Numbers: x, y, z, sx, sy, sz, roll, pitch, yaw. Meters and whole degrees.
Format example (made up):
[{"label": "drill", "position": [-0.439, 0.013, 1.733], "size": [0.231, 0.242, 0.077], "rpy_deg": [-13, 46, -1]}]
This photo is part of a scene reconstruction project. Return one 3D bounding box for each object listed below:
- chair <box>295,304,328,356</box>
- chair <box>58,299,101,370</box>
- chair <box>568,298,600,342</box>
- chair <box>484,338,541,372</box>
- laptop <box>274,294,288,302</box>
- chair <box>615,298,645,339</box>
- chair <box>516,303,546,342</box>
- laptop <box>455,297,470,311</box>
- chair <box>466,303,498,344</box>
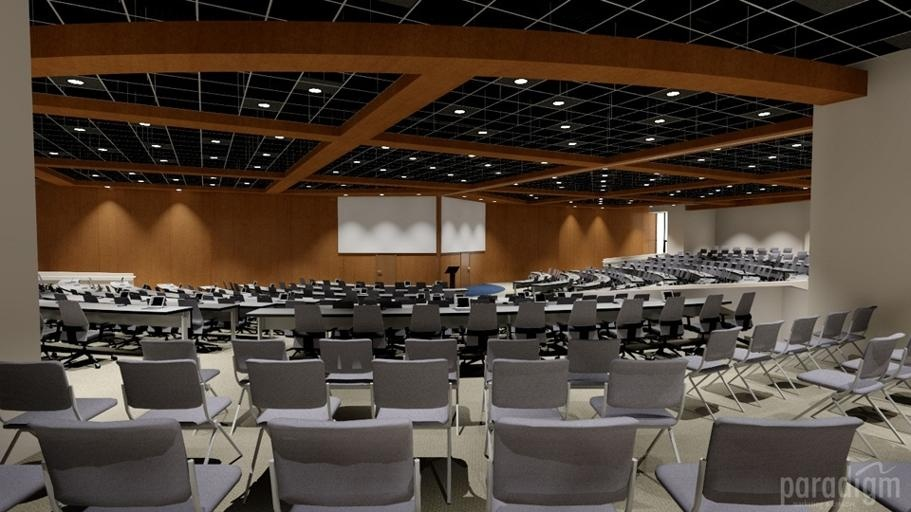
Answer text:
[{"label": "chair", "position": [-2.896, 1.495, 10.885], "size": [0.599, 1.064, 0.591], "rpy_deg": [-1, 2, -2]}, {"label": "chair", "position": [-7.728, 1.610, 11.477], "size": [0.901, 1.306, 1.006], "rpy_deg": [-5, -10, 17]}, {"label": "chair", "position": [2.557, 1.259, 11.032], "size": [0.583, 0.791, 0.490], "rpy_deg": [-1, 1, 4]}, {"label": "chair", "position": [0.859, 1.509, 8.431], "size": [0.508, 0.589, 0.540], "rpy_deg": [1, -1, 5]}, {"label": "laptop", "position": [-4.924, 1.179, 15.629], "size": [0.423, 0.089, 0.413], "rpy_deg": [0, 5, -2]}, {"label": "chair", "position": [3.473, 1.330, 11.270], "size": [0.685, 0.907, 0.719], "rpy_deg": [-1, 1, 4]}, {"label": "chair", "position": [1.479, 1.303, 10.979], "size": [0.597, 0.765, 0.314], "rpy_deg": [-1, 2, 3]}, {"label": "laptop", "position": [0.148, 1.007, 11.782], "size": [0.342, 0.213, 0.330], "rpy_deg": [9, 0, 29]}, {"label": "chair", "position": [0.504, 1.329, 10.766], "size": [0.620, 0.820, 0.318], "rpy_deg": [-1, 2, 0]}]
